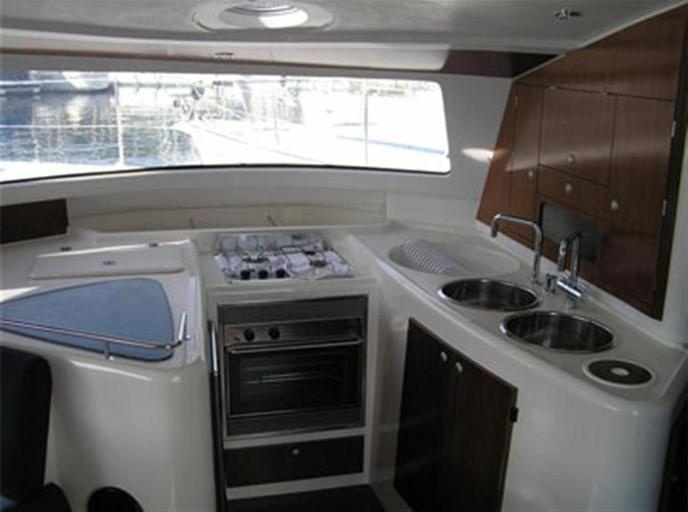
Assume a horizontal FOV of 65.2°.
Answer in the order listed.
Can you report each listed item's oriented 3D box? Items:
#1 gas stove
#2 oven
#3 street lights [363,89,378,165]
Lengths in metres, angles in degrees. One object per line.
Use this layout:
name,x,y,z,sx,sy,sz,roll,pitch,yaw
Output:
gas stove,-0.305,-0.003,2.643,0.654,0.189,0.574,-5,11,-12
oven,-0.189,0.432,2.656,0.787,0.812,0.537,-2,13,-9
street lights,0.138,-0.693,2.817,0.095,0.497,0.024,-2,37,0
